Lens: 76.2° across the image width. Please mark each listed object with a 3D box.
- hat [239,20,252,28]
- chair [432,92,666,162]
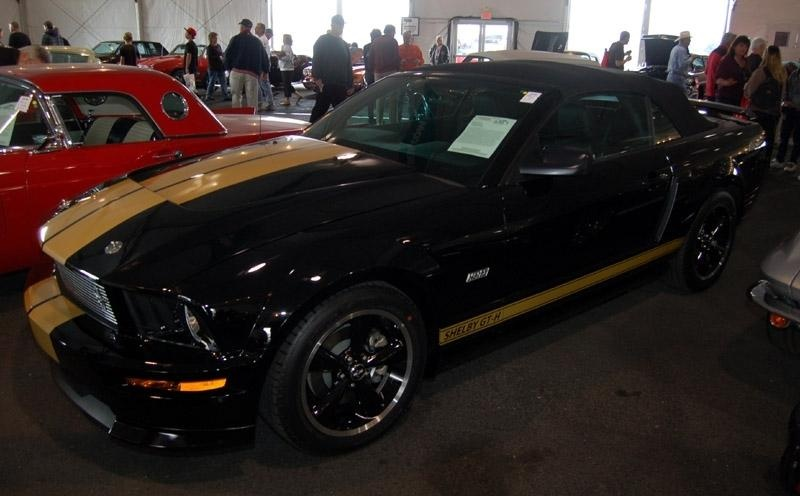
[{"bbox_3d":[-3.348,-4.882,11.090,0.197,0.186,0.492,-6,25,-17],"label":"hat"},{"bbox_3d":[1.245,-0.983,3.854,1.286,0.329,0.729,-9,26,-24],"label":"chair"}]
